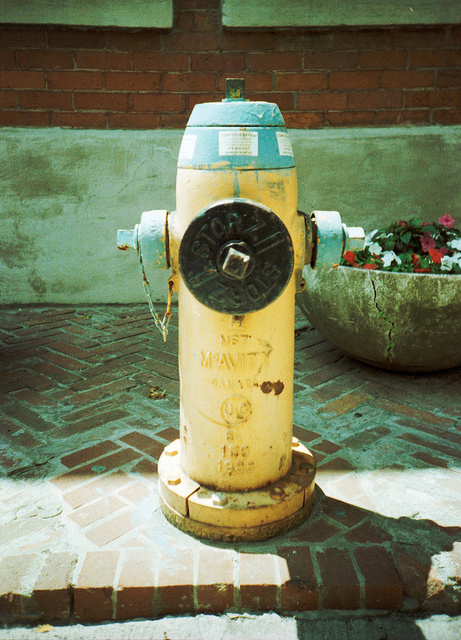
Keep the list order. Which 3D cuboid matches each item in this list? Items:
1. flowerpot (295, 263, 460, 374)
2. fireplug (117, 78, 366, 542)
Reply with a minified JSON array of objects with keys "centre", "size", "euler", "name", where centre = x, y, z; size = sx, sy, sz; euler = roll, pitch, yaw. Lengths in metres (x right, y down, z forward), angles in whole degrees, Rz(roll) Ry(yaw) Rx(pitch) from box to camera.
[{"centre":[0.763,-0.037,3.756],"size":[0.815,0.327,0.722],"euler":[1,1,1],"name":"flowerpot"},{"centre":[0.023,-0.021,2.567],"size":[0.829,1.665,0.520],"euler":[-4,19,-8],"name":"fireplug"}]
